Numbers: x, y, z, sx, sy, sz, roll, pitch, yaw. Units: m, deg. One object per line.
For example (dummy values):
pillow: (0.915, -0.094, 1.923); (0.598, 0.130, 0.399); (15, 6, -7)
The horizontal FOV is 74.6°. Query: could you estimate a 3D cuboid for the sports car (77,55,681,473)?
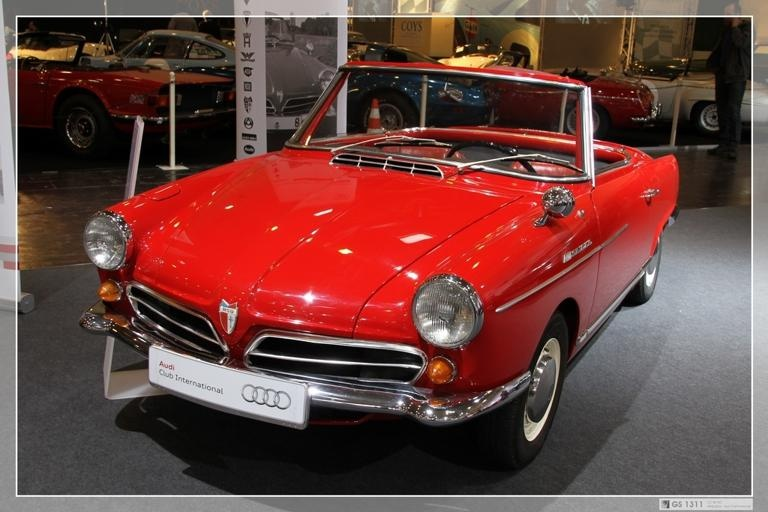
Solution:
sports car: (0.373, -0.406, 3.716); (2.611, 1.595, 4.297); (7, 21, 23)
